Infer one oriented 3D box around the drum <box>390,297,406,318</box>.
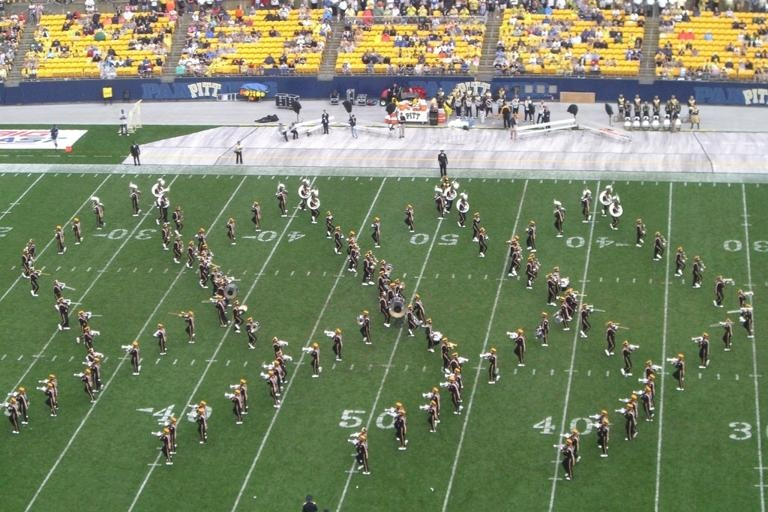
[{"bbox_3d":[0.671,2.413,69.271,0.980,0.869,0.857,0,40,4],"label":"drum"}]
